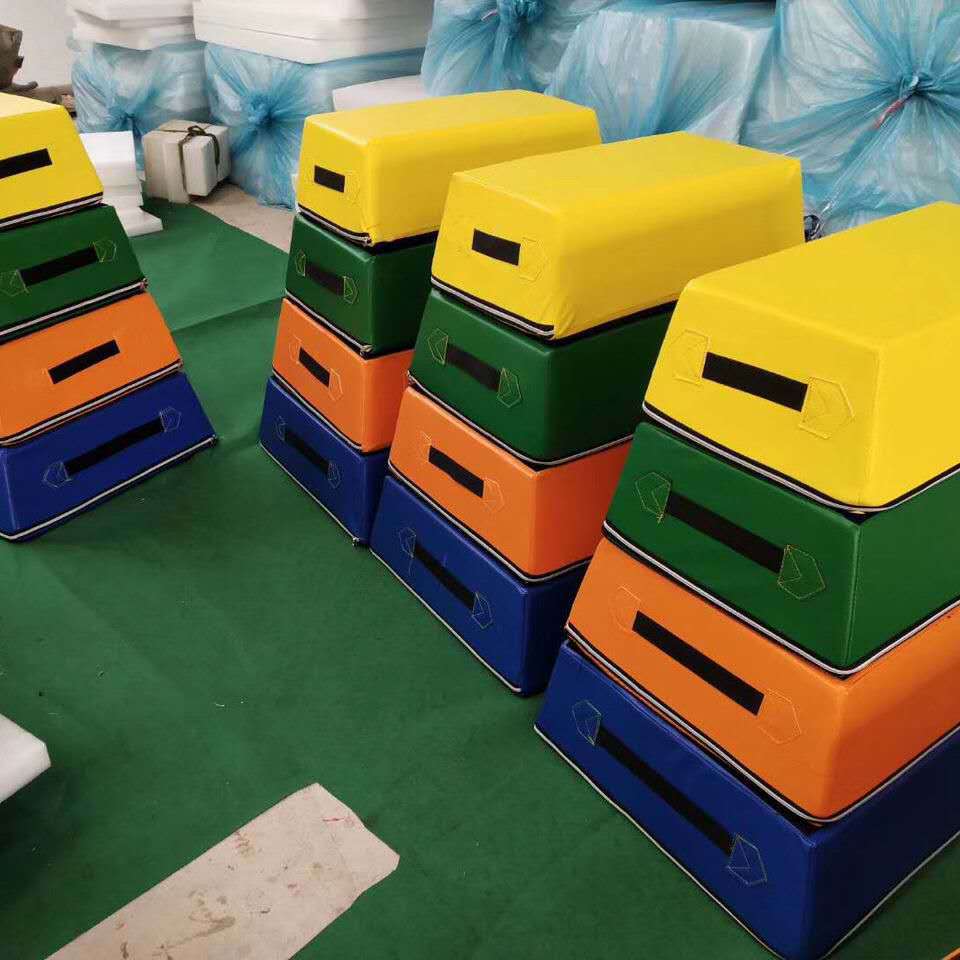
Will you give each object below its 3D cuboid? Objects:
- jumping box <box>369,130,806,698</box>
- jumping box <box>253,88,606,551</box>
[{"bbox_3d":[0.162,-0.160,1.630,0.427,0.757,0.689,25,30,36],"label":"jumping box"},{"bbox_3d":[-0.136,-0.402,1.897,0.391,0.662,0.600,21,30,34],"label":"jumping box"}]
